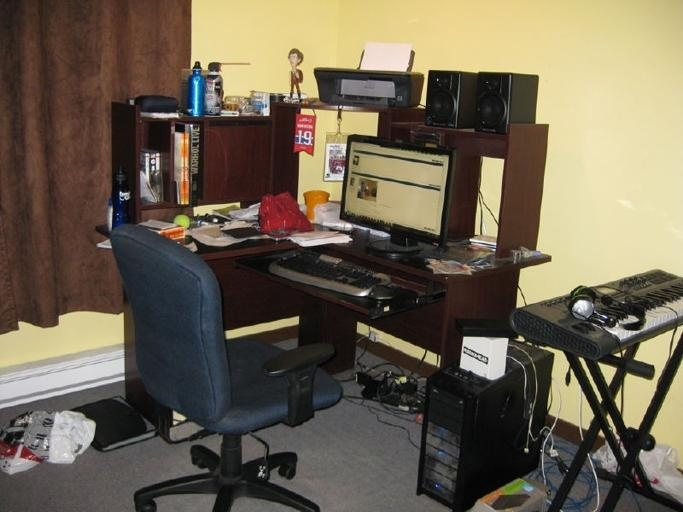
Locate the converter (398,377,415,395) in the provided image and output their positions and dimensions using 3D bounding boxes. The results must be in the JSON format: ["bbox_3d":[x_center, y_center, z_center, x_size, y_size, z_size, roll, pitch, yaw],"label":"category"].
[{"bbox_3d":[0.375,0.728,3.249,0.069,0.089,0.095,-3,5,-30],"label":"converter"}]

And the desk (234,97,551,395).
[{"bbox_3d":[0.377,-0.080,3.650,1.434,2.081,1.796,-7,17,-33],"label":"desk"}]

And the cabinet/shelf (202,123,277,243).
[{"bbox_3d":[-0.563,-0.412,3.144,0.601,0.585,0.211,-8,18,-40],"label":"cabinet/shelf"}]

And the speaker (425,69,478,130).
[{"bbox_3d":[0.529,-0.759,2.812,0.287,0.292,0.266,-7,15,-31],"label":"speaker"}]

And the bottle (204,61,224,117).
[{"bbox_3d":[-0.670,-0.890,3.048,0.077,0.267,0.166,2,14,3],"label":"bottle"}]

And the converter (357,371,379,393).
[{"bbox_3d":[0.154,0.714,3.271,0.072,0.029,0.118,-16,27,-38],"label":"converter"}]

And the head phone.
[{"bbox_3d":[0.972,0.202,2.112,0.171,0.078,0.233,-11,20,-39],"label":"head phone"}]

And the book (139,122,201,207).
[{"bbox_3d":[-0.895,-0.491,3.011,0.295,0.430,0.231,-2,15,-13],"label":"book"}]

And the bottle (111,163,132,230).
[{"bbox_3d":[-1.076,-0.286,2.798,0.099,0.285,0.136,-4,15,-18],"label":"bottle"}]

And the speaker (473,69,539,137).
[{"bbox_3d":[0.774,-0.709,2.689,0.325,0.352,0.248,-5,19,-19],"label":"speaker"}]

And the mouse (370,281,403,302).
[{"bbox_3d":[0.193,0.151,2.405,0.108,0.048,0.138,10,17,32],"label":"mouse"}]

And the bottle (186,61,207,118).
[{"bbox_3d":[-0.746,-0.868,2.994,0.088,0.269,0.143,2,14,6],"label":"bottle"}]
